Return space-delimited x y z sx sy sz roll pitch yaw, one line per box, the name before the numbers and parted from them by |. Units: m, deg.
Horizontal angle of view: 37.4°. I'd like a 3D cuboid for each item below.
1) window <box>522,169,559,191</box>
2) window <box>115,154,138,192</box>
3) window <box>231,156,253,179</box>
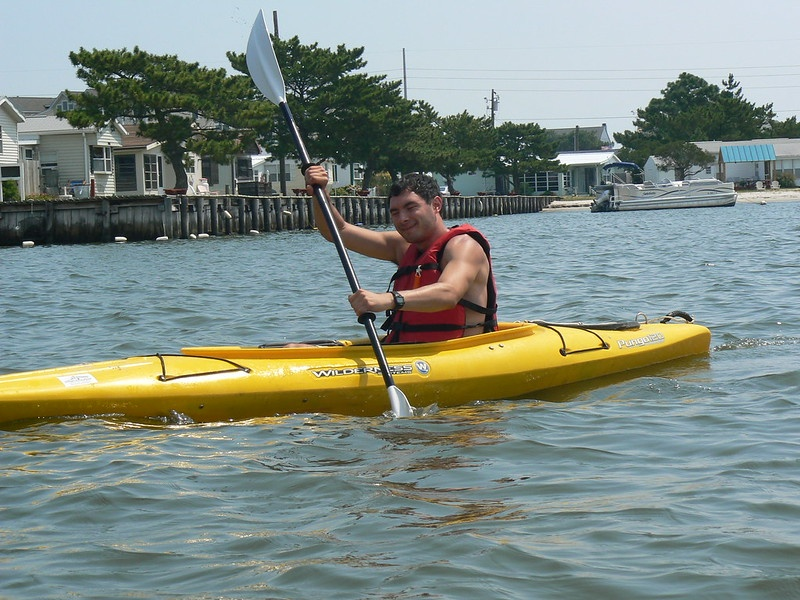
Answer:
window | 7.561 -6.390 63.835 1.971 0.714 0.070 0 7 0
window | -8.887 -4.027 38.514 0.708 1.220 0.412 -2 5 -3
window | -6.036 -5.001 45.555 1.225 0.760 0.981 2 5 11
